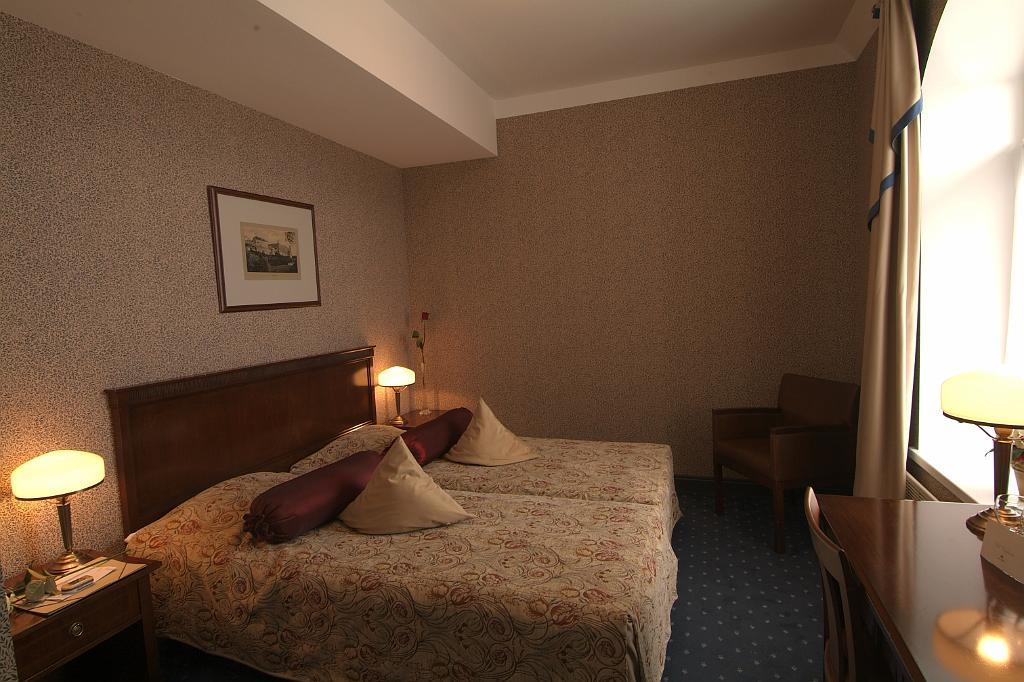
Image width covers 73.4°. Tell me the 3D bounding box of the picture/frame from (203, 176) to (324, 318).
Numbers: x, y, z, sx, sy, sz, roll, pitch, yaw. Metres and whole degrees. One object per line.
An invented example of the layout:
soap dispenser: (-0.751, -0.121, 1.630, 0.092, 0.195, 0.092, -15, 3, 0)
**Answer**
picture/frame: (-1.832, -0.690, 5.175, 0.054, 0.626, 0.925, -3, 5, 32)

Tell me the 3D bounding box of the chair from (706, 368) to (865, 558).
chair: (2.124, 0.865, 5.380, 0.744, 1.127, 0.820, -1, 6, -18)

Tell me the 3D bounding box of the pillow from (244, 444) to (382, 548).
pillow: (-1.183, 0.956, 4.307, 0.288, 0.286, 0.928, -8, 4, 28)

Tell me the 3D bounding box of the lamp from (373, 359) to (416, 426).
lamp: (-1.034, 0.472, 6.243, 0.358, 0.528, 0.357, -2, 3, 24)
